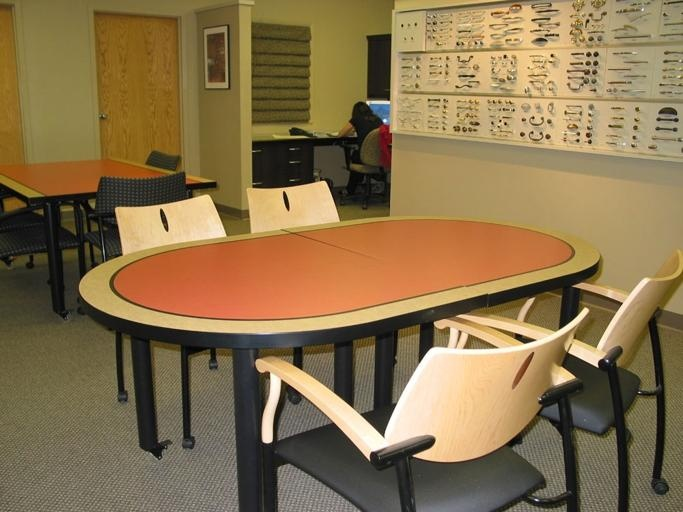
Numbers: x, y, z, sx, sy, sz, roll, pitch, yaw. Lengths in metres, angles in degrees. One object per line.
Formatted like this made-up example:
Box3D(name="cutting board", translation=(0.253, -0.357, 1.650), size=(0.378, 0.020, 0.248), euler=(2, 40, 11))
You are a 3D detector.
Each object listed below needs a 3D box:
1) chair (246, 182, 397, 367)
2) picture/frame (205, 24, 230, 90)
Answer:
Box3D(name="chair", translation=(-0.041, -0.041, 3.578), size=(0.890, 1.506, 0.976), euler=(-8, 16, -27))
Box3D(name="picture/frame", translation=(-1.464, -2.380, 6.170), size=(0.039, 0.895, 0.710), euler=(-2, 9, -42))
